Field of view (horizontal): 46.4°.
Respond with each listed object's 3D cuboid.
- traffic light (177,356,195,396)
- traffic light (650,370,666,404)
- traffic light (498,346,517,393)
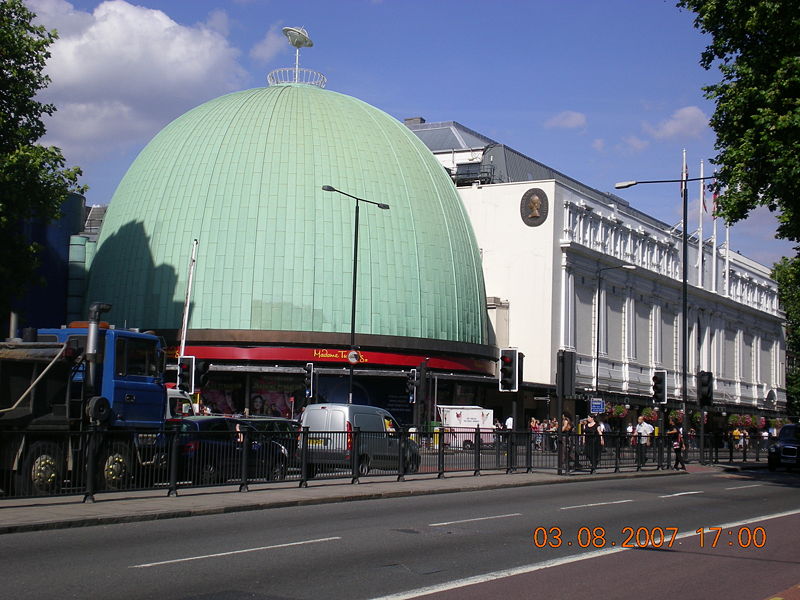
[{"bbox_3d":[-8.241,2.944,35.816,0.915,1.395,0.945,1,7,-22],"label":"traffic light"},{"bbox_3d":[12.483,4.155,45.189,0.585,1.502,1.186,-2,-11,9],"label":"traffic light"},{"bbox_3d":[3.959,2.543,33.901,0.674,1.675,1.117,-1,-11,7],"label":"traffic light"}]
